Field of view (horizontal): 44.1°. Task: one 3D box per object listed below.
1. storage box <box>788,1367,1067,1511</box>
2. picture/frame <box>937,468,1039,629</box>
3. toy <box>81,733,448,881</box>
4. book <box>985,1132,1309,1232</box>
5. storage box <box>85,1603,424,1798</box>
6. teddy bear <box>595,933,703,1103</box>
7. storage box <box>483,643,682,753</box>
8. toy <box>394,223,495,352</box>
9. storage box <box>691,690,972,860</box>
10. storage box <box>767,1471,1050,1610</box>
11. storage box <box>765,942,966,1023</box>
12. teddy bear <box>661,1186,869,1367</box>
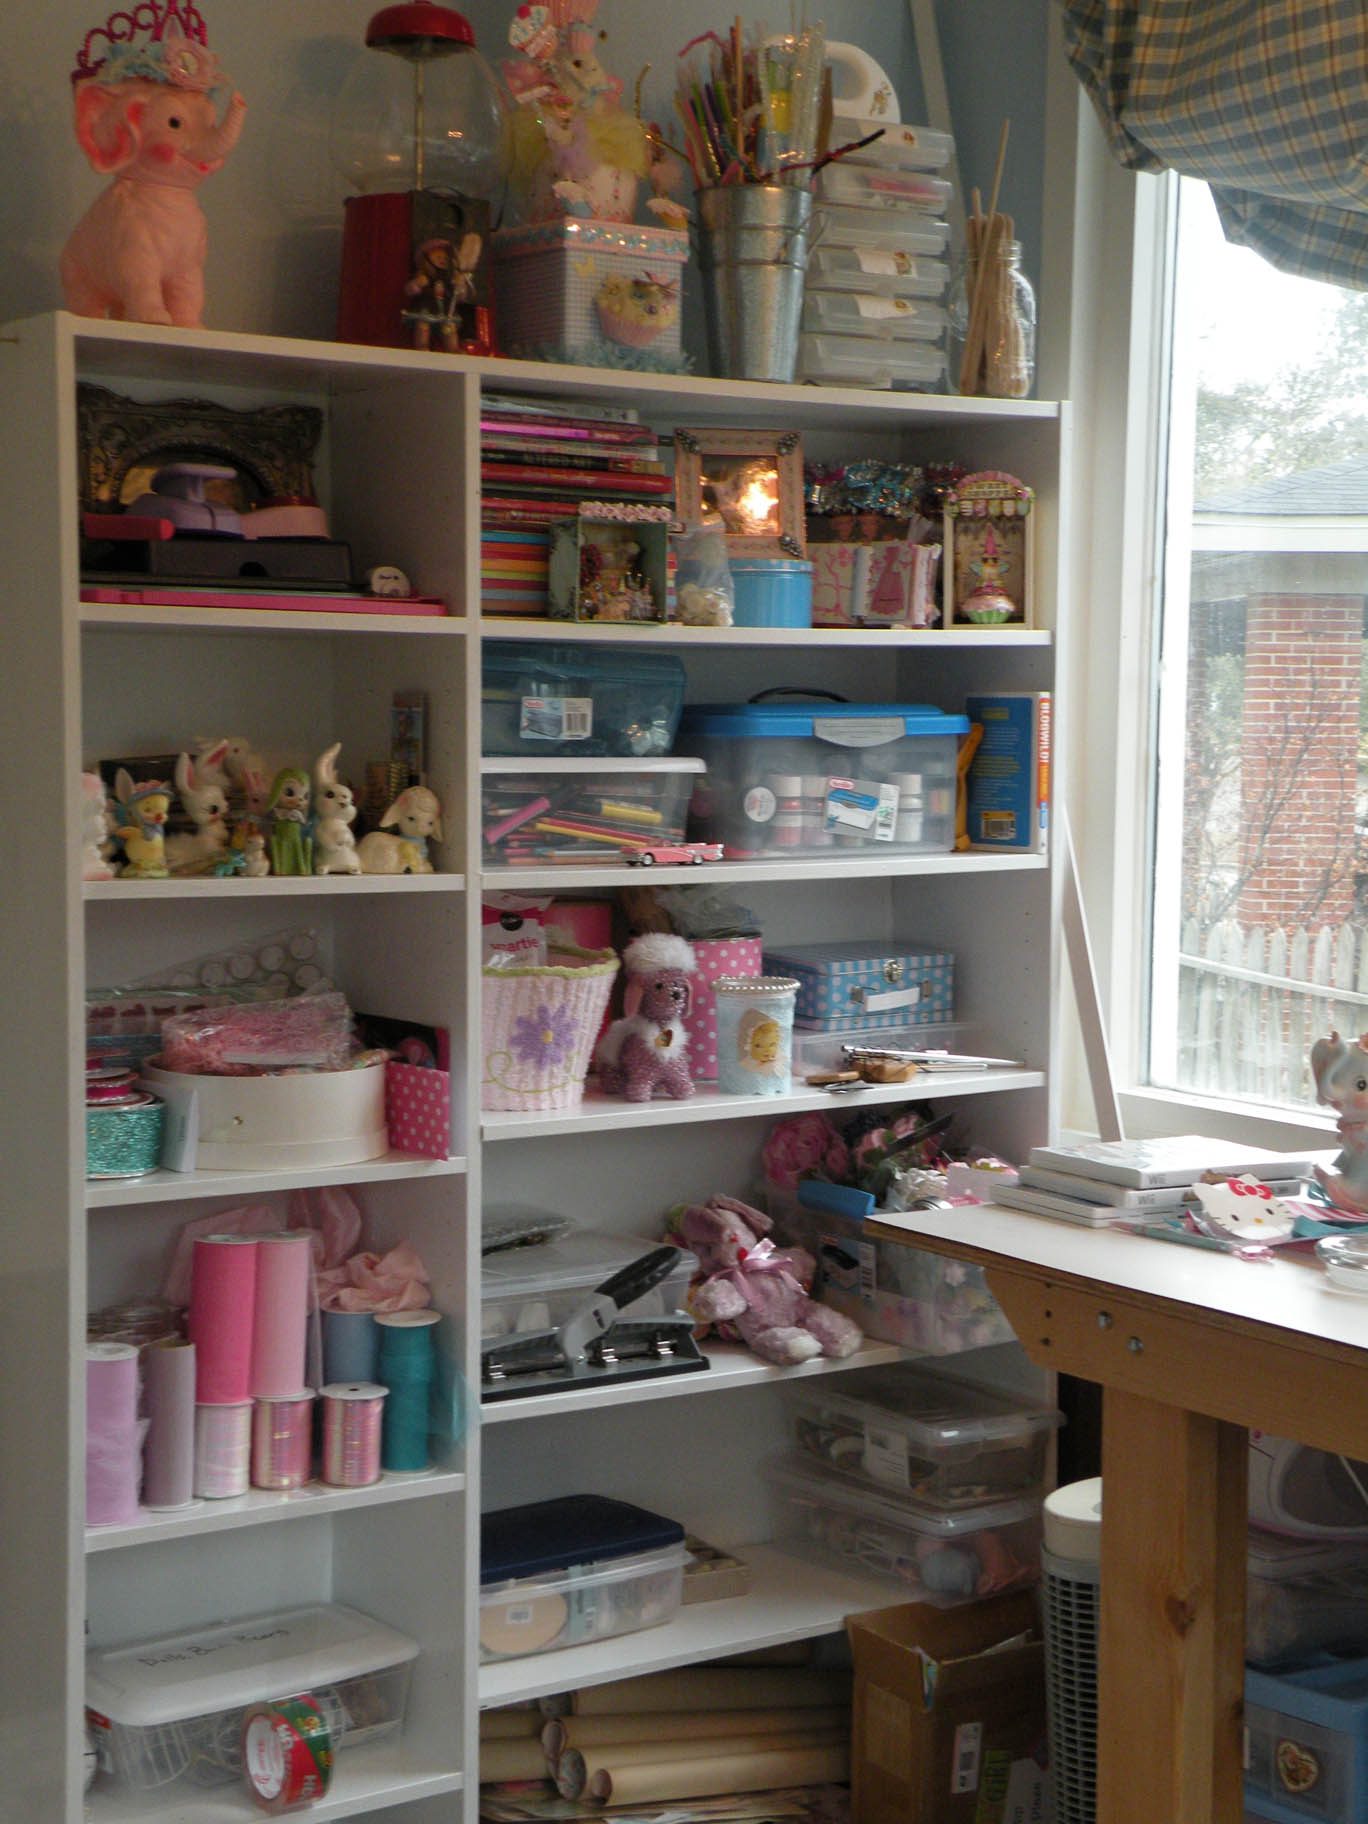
[{"bbox_3d":[0.333,0.650,2.256,0.274,0.133,0.301,-4,6,-40],"label":"storage box"},{"bbox_3d":[0.381,-0.457,2.140,0.129,0.191,0.023,-6,10,-15],"label":"picture/frame"},{"bbox_3d":[-0.429,-0.128,1.677,0.356,0.145,0.221,-5,13,-36],"label":"toy"},{"bbox_3d":[0.494,0.255,1.837,0.294,0.067,0.247,-6,10,-33],"label":"book"},{"bbox_3d":[-0.455,0.811,1.761,0.228,0.066,0.164,-5,6,-40],"label":"storage box"},{"bbox_3d":[-0.036,0.121,2.022,0.109,0.195,0.110,-6,15,-32],"label":"teddy bear"},{"bbox_3d":[-0.137,-0.253,1.916,0.234,0.126,0.154,-4,11,-32],"label":"storage box"},{"bbox_3d":[-0.237,-0.634,1.719,0.043,0.131,0.106,5,13,40],"label":"toy"},{"bbox_3d":[0.187,-0.186,2.086,0.351,0.196,0.231,-4,11,-30],"label":"storage box"},{"bbox_3d":[0.304,0.820,2.285,0.256,0.107,0.361,12,-10,-38],"label":"storage box"},{"bbox_3d":[0.264,0.087,2.272,0.296,0.095,0.200,-5,9,-32],"label":"storage box"},{"bbox_3d":[0.089,0.460,2.122,0.145,0.085,0.227,2,28,-45],"label":"teddy bear"}]
